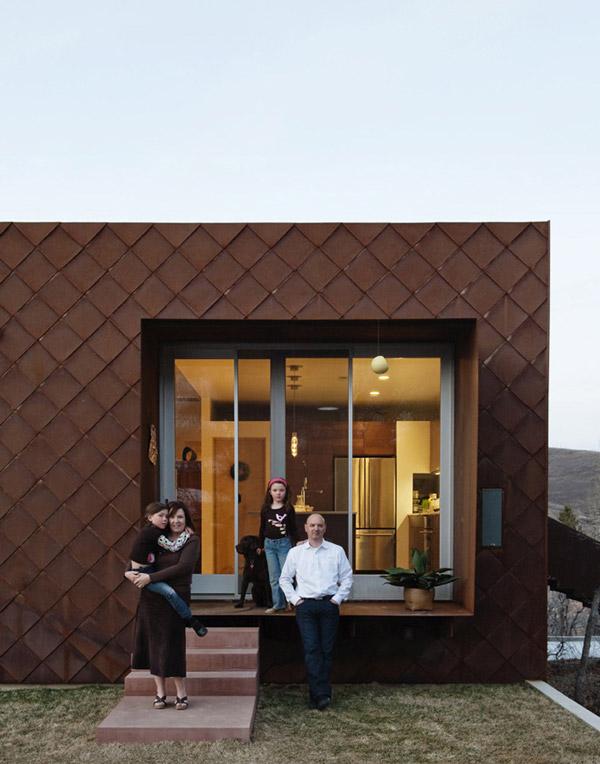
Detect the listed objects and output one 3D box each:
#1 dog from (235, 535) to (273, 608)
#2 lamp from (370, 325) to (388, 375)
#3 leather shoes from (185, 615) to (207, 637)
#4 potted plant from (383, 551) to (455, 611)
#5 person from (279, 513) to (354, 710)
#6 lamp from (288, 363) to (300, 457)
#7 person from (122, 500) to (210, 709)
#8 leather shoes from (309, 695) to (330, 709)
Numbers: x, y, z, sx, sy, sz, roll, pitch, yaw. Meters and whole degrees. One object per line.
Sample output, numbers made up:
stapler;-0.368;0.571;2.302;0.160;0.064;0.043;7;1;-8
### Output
dog;-0.399;1.629;8.432;0.229;0.431;0.690;-5;-36;1
lamp;0.728;-0.293;8.717;0.171;0.550;0.627;4;10;4
leather shoes;-0.759;1.781;7.105;0.145;0.181;0.148;4;10;6
potted plant;1.014;1.709;8.310;0.526;0.359;0.525;3;-14;-9
person;0.150;1.805;7.813;0.444;1.469;0.634;-5;13;-39
lamp;-0.065;0.254;8.971;0.145;0.825;0.273;3;10;-2
person;-1.003;1.673;7.176;0.586;1.549;0.448;2;10;-10
leather shoes;0.152;2.501;7.678;0.072;0.135;0.193;5;-5;-33
